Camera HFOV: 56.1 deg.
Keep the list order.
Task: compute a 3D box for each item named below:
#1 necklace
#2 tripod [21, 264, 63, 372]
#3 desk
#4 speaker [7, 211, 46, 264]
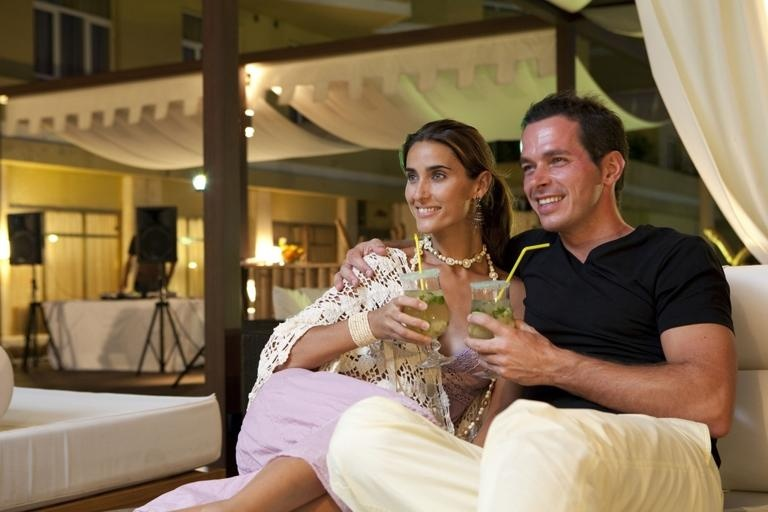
[{"bbox_3d":[0.278,0.320,2.933,0.432,0.778,0.205,2,-5,6],"label":"necklace"},{"bbox_3d":[-2.197,0.398,4.640,0.235,0.669,0.101,0,-3,-24],"label":"tripod"},{"bbox_3d":[-1.753,0.494,4.672,0.634,0.313,0.647,-5,-10,18],"label":"desk"},{"bbox_3d":[-2.309,-0.109,4.635,0.242,0.338,0.072,-2,-3,14],"label":"speaker"}]
